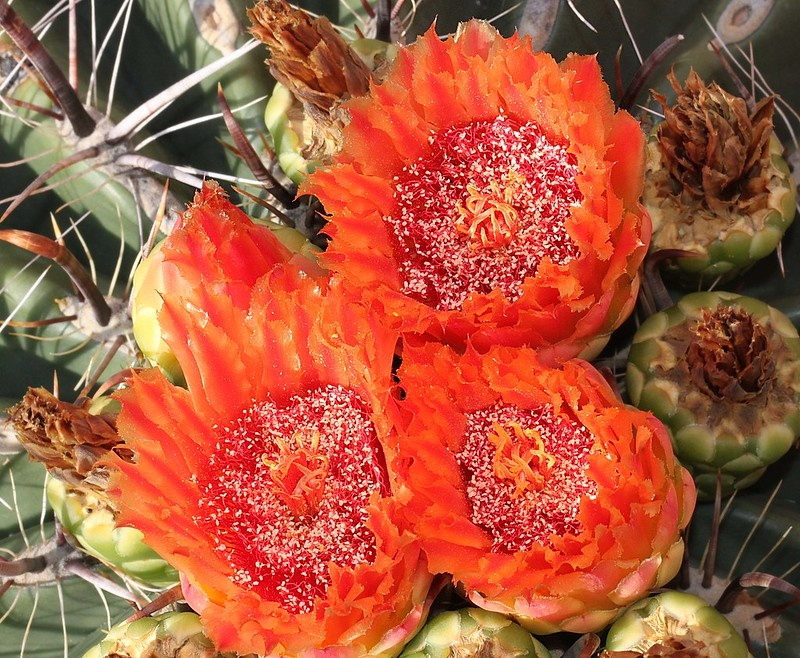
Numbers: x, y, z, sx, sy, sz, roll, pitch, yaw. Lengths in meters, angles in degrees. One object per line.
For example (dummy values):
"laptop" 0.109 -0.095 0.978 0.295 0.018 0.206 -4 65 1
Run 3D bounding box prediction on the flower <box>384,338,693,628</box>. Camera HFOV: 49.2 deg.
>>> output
"flower" 0.141 0.166 0.867 0.299 0.172 0.267 6 74 5
